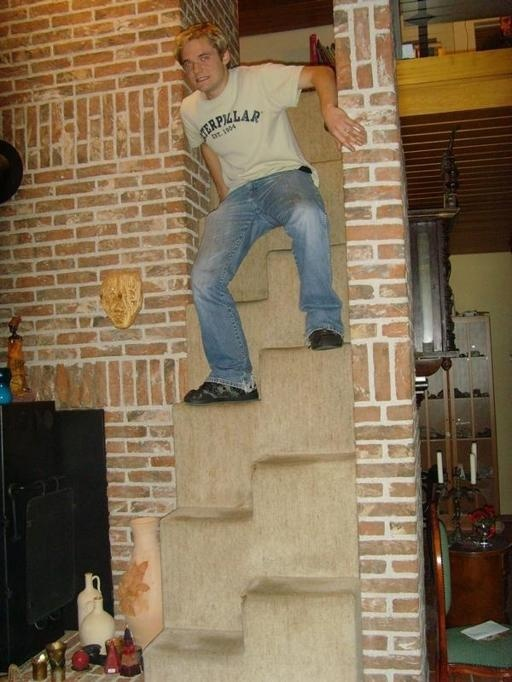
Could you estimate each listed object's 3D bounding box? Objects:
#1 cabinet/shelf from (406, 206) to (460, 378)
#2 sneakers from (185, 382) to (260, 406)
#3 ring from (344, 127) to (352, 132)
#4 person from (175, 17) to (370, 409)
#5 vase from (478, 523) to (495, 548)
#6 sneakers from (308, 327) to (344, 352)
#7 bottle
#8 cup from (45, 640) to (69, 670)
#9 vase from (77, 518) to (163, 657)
[{"bbox_3d":[1.139,-0.300,5.890,0.314,1.019,0.713,-5,-4,9],"label":"cabinet/shelf"},{"bbox_3d":[-0.152,0.210,3.619,0.321,0.119,0.105,0,-3,9],"label":"sneakers"},{"bbox_3d":[0.322,-0.744,3.220,0.020,0.018,0.006,-3,-1,15],"label":"ring"},{"bbox_3d":[0.036,-0.509,3.620,0.929,1.484,0.451,-6,-5,31],"label":"person"},{"bbox_3d":[1.370,1.163,5.472,0.123,0.173,0.118,0,-13,6],"label":"vase"},{"bbox_3d":[0.256,-0.011,3.390,0.087,0.073,0.152,0,-3,0],"label":"sneakers"},{"bbox_3d":[-0.649,1.122,3.729,0.227,0.311,0.162,-11,-17,32],"label":"bottle"},{"bbox_3d":[-0.752,1.193,3.478,0.086,0.102,0.088,1,-13,0],"label":"cup"},{"bbox_3d":[-0.459,0.959,3.638,0.164,0.476,0.123,-3,-4,-9],"label":"vase"}]
